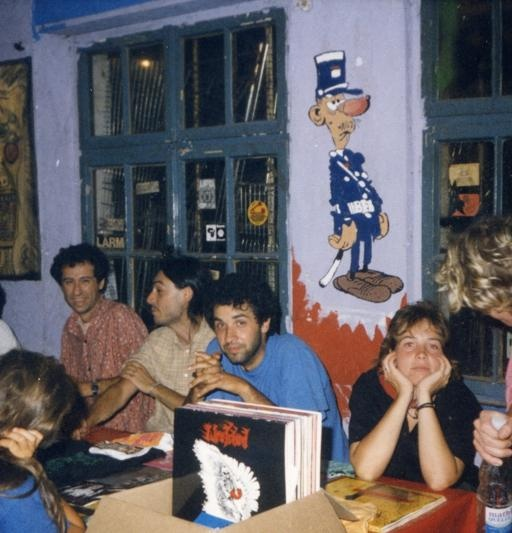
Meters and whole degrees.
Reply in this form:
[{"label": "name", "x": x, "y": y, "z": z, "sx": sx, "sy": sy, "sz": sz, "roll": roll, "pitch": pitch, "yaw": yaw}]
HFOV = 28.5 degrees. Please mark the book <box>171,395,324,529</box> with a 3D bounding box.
[{"label": "book", "x": -0.034, "y": 0.678, "z": 3.389, "sx": 0.295, "sy": 0.374, "sz": 0.121, "roll": -3, "pitch": -4, "yaw": 37}]
